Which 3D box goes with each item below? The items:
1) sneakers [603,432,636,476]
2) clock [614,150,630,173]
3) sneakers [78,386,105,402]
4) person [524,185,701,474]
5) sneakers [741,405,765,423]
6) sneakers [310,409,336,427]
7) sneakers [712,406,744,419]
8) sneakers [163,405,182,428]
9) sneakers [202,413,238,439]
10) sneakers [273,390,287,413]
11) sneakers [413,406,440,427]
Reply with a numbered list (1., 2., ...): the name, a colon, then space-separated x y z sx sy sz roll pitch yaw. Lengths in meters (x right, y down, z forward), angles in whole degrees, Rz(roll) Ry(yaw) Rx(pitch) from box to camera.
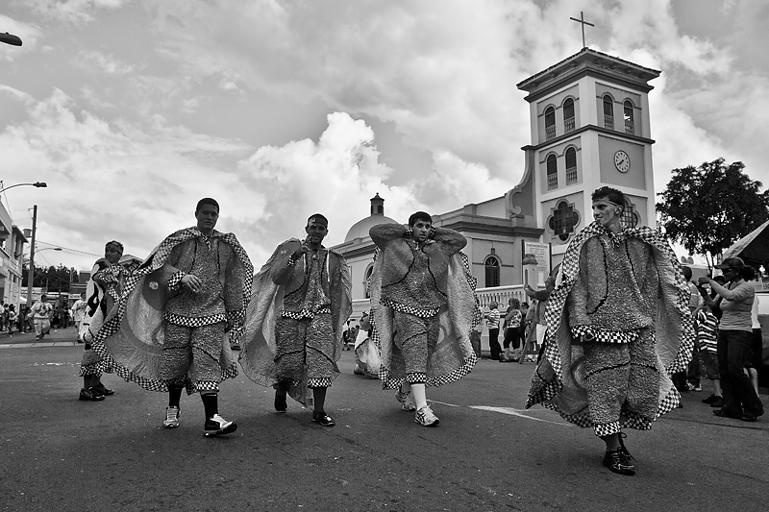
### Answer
1. sneakers: 2.053 1.731 4.563 0.261 0.334 0.216 -1 -10 24
2. clock: 15.869 -6.364 34.907 1.330 1.360 0.149 20 -11 -23
3. sneakers: -4.456 2.106 7.928 0.420 0.204 0.205 -1 -9 16
4. person: 2.149 0.501 4.903 1.395 2.267 0.523 3 -9 0
5. sneakers: 5.027 2.169 7.093 0.157 0.198 0.448 -18 -27 38
6. sneakers: -0.725 1.902 6.057 0.121 0.124 0.310 3 -11 -34
7. sneakers: 4.793 2.201 7.281 0.289 0.129 0.597 4 -9 -9
8. sneakers: -2.402 1.826 5.878 0.168 0.220 0.253 6 -10 -21
9. sneakers: -1.733 1.782 5.456 0.364 0.218 0.175 -3 0 16
10. sneakers: -1.371 1.926 6.829 0.122 0.379 0.153 2 1 -21
11. sneakers: 0.490 1.895 6.109 0.140 0.155 0.356 3 -12 -28
